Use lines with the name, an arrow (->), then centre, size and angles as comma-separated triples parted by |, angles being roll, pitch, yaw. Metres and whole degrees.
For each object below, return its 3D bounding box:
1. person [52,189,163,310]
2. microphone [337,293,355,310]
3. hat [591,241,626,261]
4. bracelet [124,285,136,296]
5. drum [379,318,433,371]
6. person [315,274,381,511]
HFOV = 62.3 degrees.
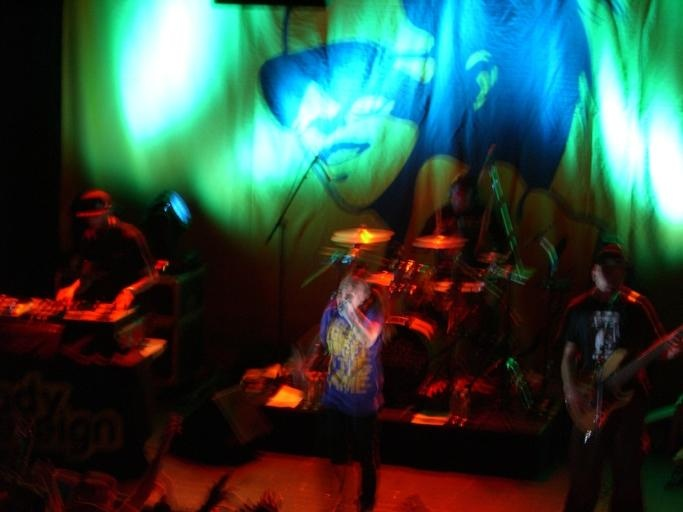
person -> -2.157, -0.094, 5.164 | 0.900, 0.960, 0.412 | -2, 17, -5
microphone -> 0.026, 0.321, 4.068 | 0.148, 0.111, 0.037 | 12, 21, 35
hat -> 2.195, -0.043, 4.630 | 0.194, 0.113, 0.279 | 1, 4, 42
bracelet -> -1.858, 0.308, 5.012 | 0.061, 0.067, 0.092 | 0, -2, 26
drum -> 0.734, 0.771, 5.069 | 0.572, 0.422, 0.608 | -3, -3, 0
person -> 0.077, 1.028, 4.198 | 0.462, 1.753, 0.438 | 1, 17, 7
